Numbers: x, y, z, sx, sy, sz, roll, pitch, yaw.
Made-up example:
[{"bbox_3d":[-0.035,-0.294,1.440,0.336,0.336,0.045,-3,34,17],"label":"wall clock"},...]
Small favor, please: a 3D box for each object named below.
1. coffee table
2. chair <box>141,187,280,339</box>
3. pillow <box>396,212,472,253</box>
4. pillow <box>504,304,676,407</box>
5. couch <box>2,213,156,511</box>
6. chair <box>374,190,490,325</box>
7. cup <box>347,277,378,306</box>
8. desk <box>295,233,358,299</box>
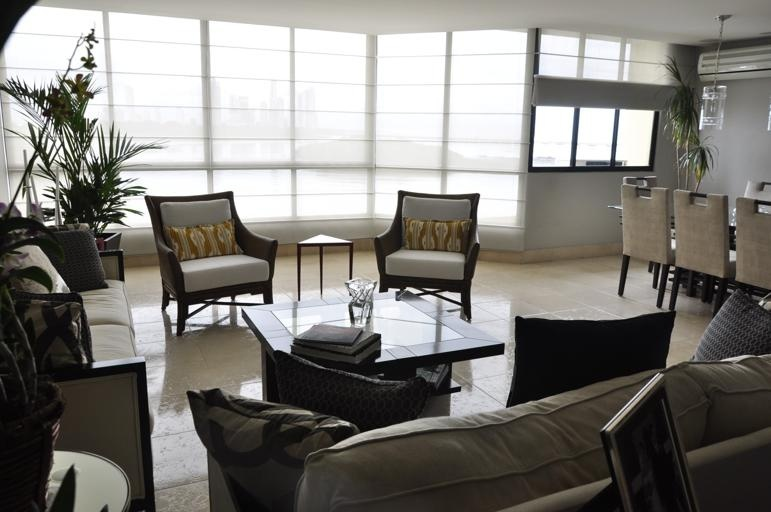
[{"bbox_3d":[-0.043,0.492,3.319,1.004,0.591,1.002,-6,17,-24],"label":"coffee table"},{"bbox_3d":[-1.559,0.019,4.812,0.944,1.077,1.028,-5,11,-24],"label":"chair"},{"bbox_3d":[0.493,-0.207,5.238,0.647,0.390,0.140,2,19,6],"label":"pillow"},{"bbox_3d":[0.812,0.408,2.153,0.690,0.433,0.149,-2,8,-18],"label":"pillow"},{"bbox_3d":[-1.345,0.462,2.351,0.405,0.771,1.399,-5,38,-28],"label":"couch"},{"bbox_3d":[0.427,-0.033,5.182,0.915,1.179,0.851,4,8,9],"label":"chair"},{"bbox_3d":[-0.168,0.230,3.538,0.191,0.165,0.163,-1,6,-15],"label":"cup"},{"bbox_3d":[-0.560,-0.009,5.604,0.777,0.788,0.692,-2,6,-14],"label":"desk"}]
